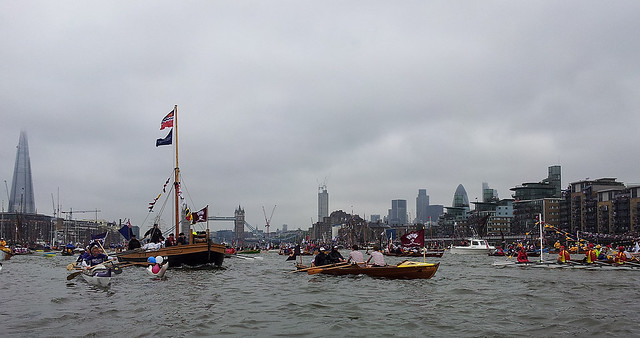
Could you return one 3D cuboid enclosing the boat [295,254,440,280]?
[{"bbox_3d":[7.135,17.731,124.304,32.968,4.239,6.719,-4,-10,13],"label":"boat"}]
